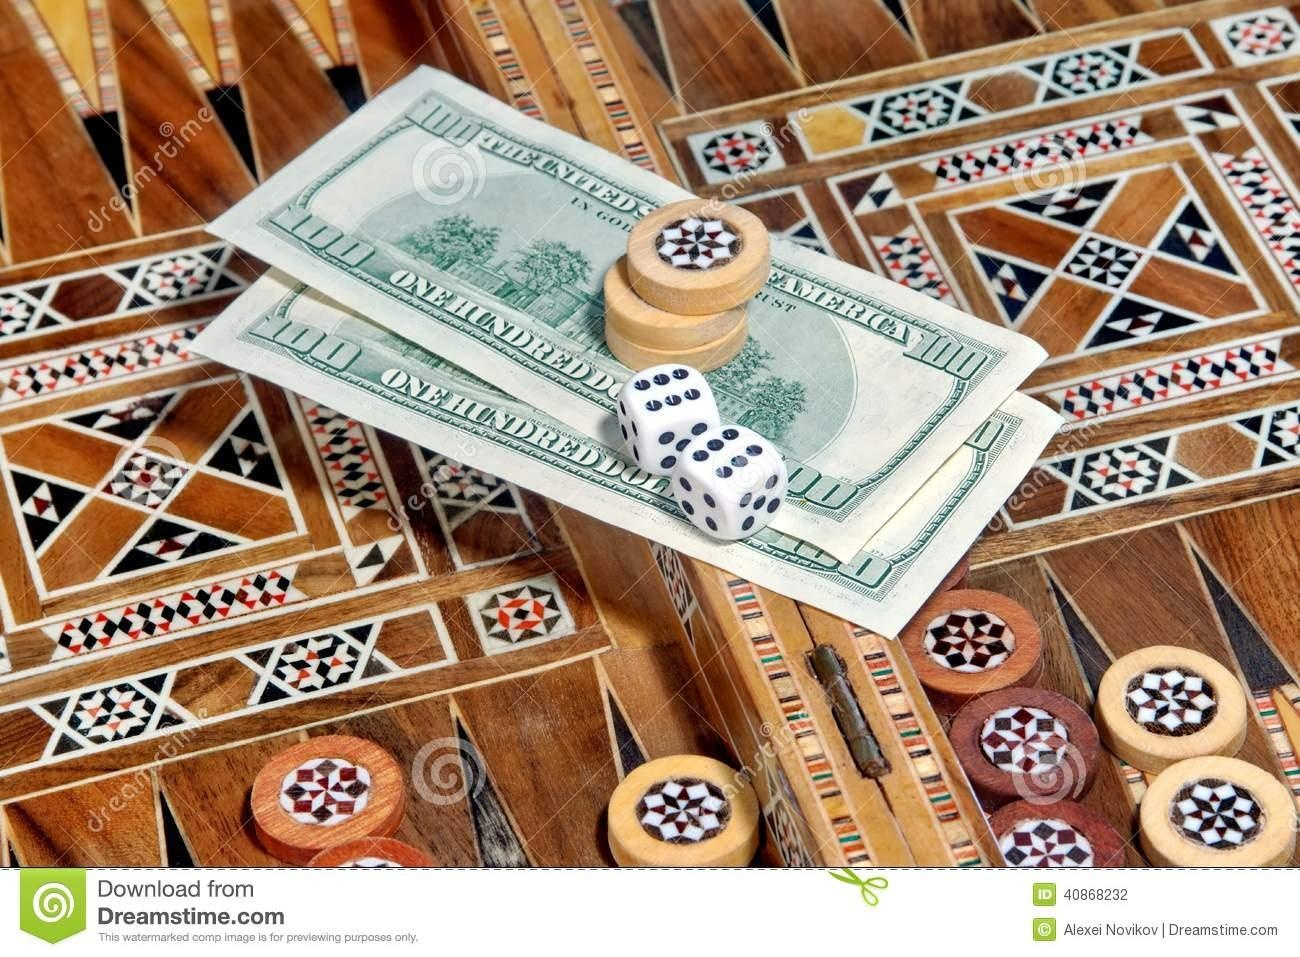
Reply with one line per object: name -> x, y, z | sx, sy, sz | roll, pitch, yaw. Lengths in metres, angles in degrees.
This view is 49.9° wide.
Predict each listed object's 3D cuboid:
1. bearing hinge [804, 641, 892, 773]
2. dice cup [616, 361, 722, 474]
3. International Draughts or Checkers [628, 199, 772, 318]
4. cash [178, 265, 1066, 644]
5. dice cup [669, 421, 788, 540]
bearing hinge -> 0.570, 0.679, 4.128 | 0.091, 0.381, 0.087 | -19, -22, -10
dice cup -> 0.045, -0.212, 4.672 | 0.352, 0.346, 0.330 | -6, 15, 2
International Draughts or Checkers -> 0.158, -0.773, 4.825 | 0.483, 0.456, 0.160 | 8, -27, -1
cash -> -0.182, -0.247, 5.135 | 2.583, 1.132, 0.085 | 25, -48, 15
dice cup -> 0.244, 0.007, 4.468 | 0.358, 0.321, 0.297 | 6, -27, 2
